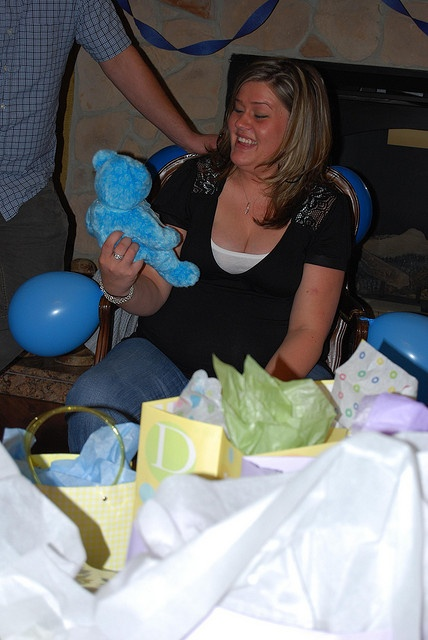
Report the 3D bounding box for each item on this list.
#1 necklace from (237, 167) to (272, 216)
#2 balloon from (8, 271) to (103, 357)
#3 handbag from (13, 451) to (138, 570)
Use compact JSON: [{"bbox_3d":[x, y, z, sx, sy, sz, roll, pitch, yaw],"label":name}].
[{"bbox_3d":[0.090,-0.299,1.175,0.081,0.104,0.034,-17,-5,-38],"label":"necklace"},{"bbox_3d":[-0.397,-0.022,1.397,0.259,0.188,0.190,-22,9,-6],"label":"balloon"},{"bbox_3d":[-0.155,0.204,0.603,0.126,0.129,0.119,0,6,-5],"label":"handbag"}]
